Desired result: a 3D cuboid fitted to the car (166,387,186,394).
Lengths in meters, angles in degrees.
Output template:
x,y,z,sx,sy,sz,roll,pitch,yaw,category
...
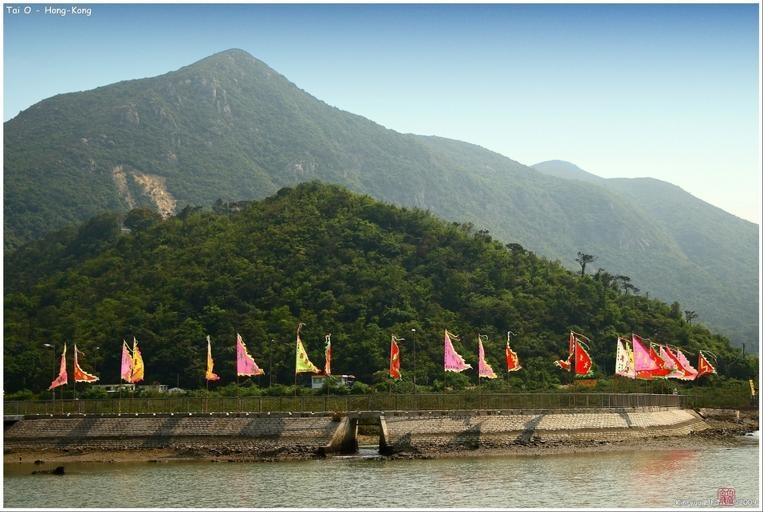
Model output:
x,y,z,sx,sy,sz,roll,pitch,yaw,category
-35.025,22.736,162.848,3.038,1.036,2.941,0,-15,3,car
